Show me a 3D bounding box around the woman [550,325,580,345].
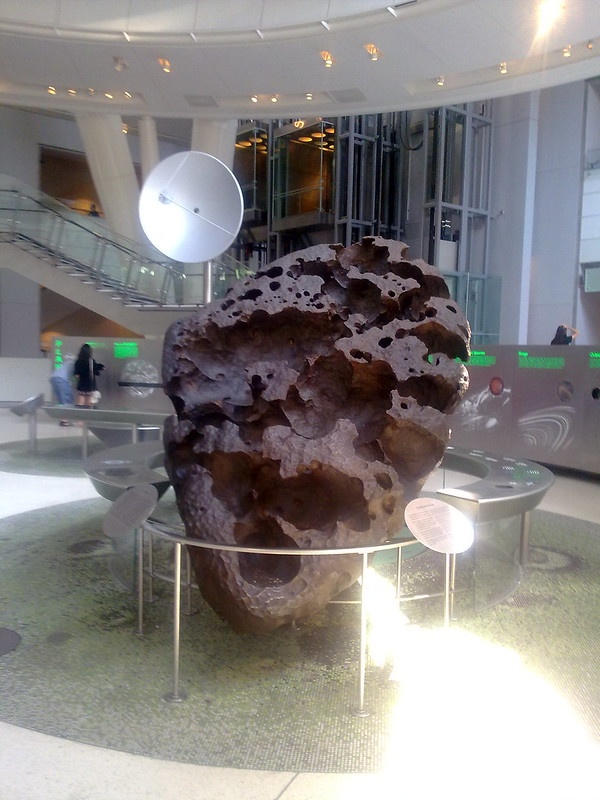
[{"bbox_3d":[4.652,-1.159,11.182,0.373,0.416,2.775,3,4,23],"label":"woman"}]

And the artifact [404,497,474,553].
[{"bbox_3d":[0.611,0.540,2.811,0.291,0.165,0.369,2,4,11],"label":"artifact"}]

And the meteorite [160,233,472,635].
[{"bbox_3d":[0.129,-0.165,3.661,1.767,1.746,1.291,0,4,-12],"label":"meteorite"}]
